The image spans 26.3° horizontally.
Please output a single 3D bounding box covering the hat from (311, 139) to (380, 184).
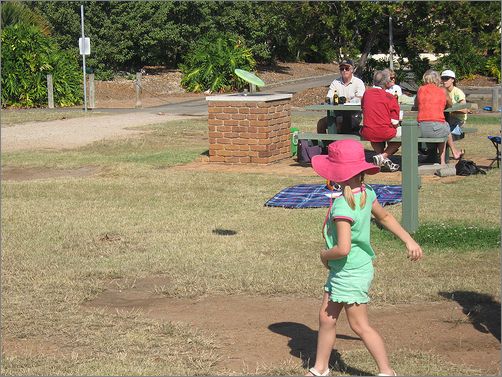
[{"bbox_3d":[1.503,-0.454,17.472,0.805,0.332,0.806,6,27,9],"label":"hat"}]

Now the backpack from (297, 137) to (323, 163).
[{"bbox_3d":[1.407,-0.904,26.030,0.629,0.680,0.490,1,8,9],"label":"backpack"}]

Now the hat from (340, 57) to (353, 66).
[{"bbox_3d":[2.289,-3.006,25.706,0.318,0.235,0.345,0,12,5],"label":"hat"}]

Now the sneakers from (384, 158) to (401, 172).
[{"bbox_3d":[3.256,-0.537,24.785,0.174,0.160,0.416,-40,-43,26],"label":"sneakers"}]

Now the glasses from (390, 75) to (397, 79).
[{"bbox_3d":[3.333,-2.585,25.198,0.082,0.088,0.118,-5,4,-4],"label":"glasses"}]
